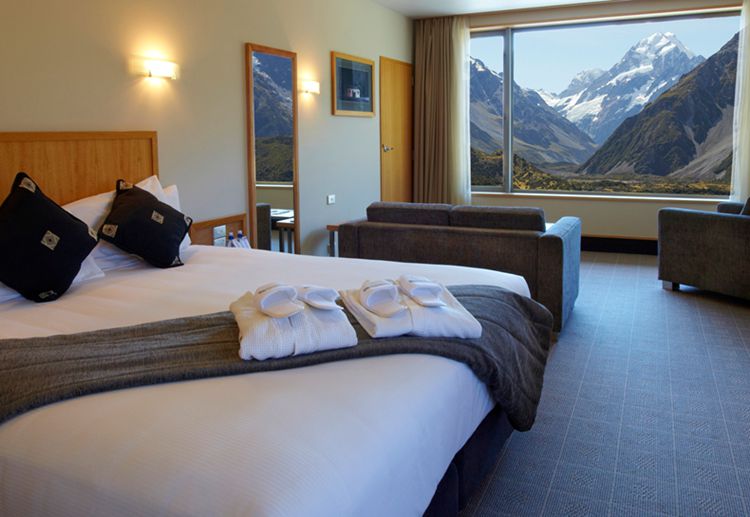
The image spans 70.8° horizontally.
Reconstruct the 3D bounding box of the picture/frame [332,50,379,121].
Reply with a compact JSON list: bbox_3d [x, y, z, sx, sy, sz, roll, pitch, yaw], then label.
[{"bbox_3d":[-0.241,-2.109,6.672,0.037,0.702,0.848,7,14,37],"label":"picture/frame"}]
